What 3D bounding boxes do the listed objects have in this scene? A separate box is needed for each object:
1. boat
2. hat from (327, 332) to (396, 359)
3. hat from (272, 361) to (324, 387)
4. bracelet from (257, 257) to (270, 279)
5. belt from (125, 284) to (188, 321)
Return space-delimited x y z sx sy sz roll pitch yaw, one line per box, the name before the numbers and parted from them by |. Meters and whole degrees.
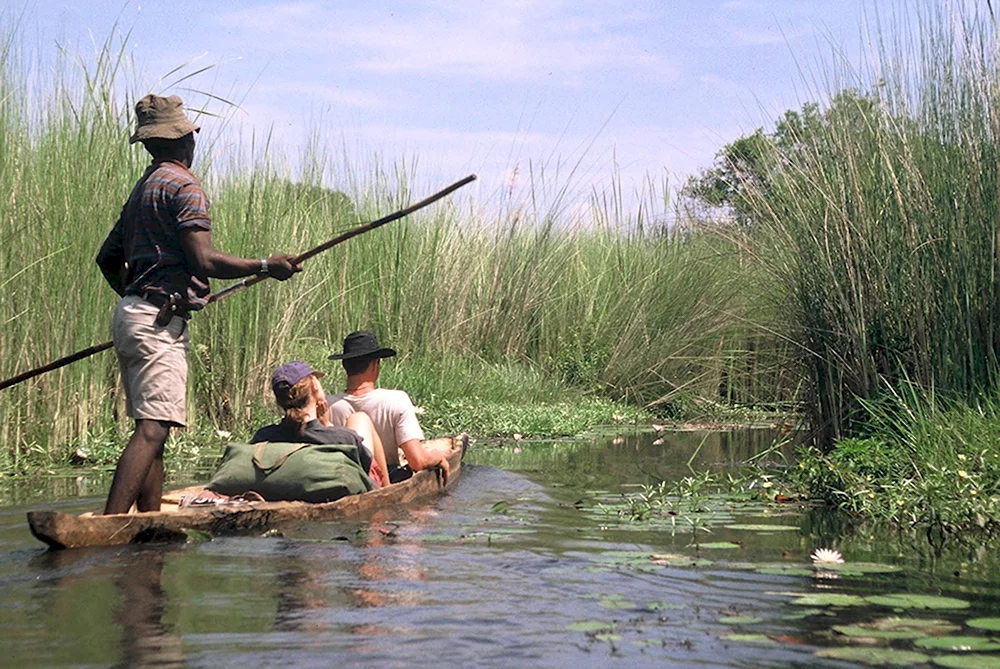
boat | -1.804 1.498 12.280 1.101 0.553 5.285 -8 -9 42
hat | -1.693 0.141 15.546 0.479 0.199 0.542 -4 -6 12
hat | -1.916 0.354 12.271 0.332 0.131 0.248 -10 8 -30
bracelet | -2.105 -0.586 11.710 0.088 0.146 0.145 2 6 -6
belt | -2.955 -0.248 11.348 0.394 0.272 0.286 8 -4 0
